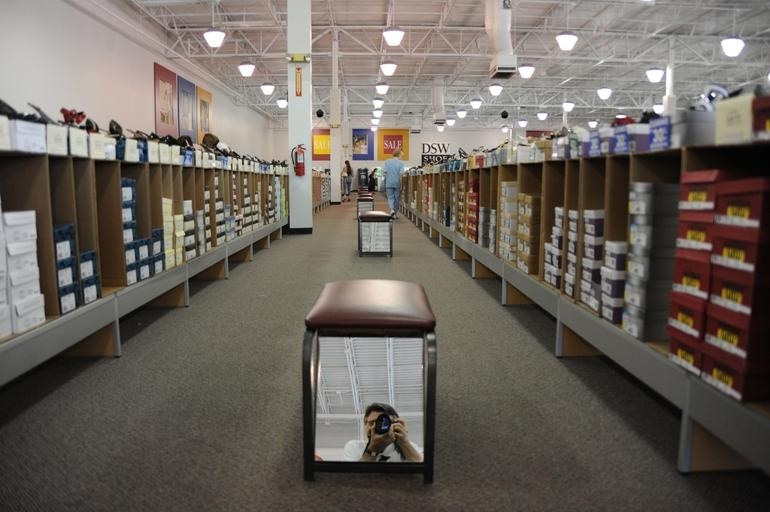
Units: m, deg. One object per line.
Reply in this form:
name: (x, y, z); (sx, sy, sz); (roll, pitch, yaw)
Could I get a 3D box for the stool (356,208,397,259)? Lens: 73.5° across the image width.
stool: (-0.141, -0.532, 8.258); (0.509, 0.667, 0.951); (0, 29, -1)

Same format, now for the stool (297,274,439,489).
stool: (-0.131, 0.722, 3.347); (0.732, 1.006, 1.309); (1, 4, -4)

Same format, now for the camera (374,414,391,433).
camera: (-0.012, 0.905, 2.773); (0.070, 0.100, 0.034); (2, -5, -1)

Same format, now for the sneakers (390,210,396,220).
sneakers: (0.200, -1.091, 13.836); (0.168, 0.216, 0.523); (-2, -5, 2)

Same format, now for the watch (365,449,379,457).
watch: (-0.075, 1.060, 2.766); (0.052, 0.037, 0.056); (6, 10, -14)

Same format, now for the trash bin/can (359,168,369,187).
trash bin/can: (-1.274, -4.458, 29.714); (0.536, 0.849, 1.456); (-1, 16, -3)
